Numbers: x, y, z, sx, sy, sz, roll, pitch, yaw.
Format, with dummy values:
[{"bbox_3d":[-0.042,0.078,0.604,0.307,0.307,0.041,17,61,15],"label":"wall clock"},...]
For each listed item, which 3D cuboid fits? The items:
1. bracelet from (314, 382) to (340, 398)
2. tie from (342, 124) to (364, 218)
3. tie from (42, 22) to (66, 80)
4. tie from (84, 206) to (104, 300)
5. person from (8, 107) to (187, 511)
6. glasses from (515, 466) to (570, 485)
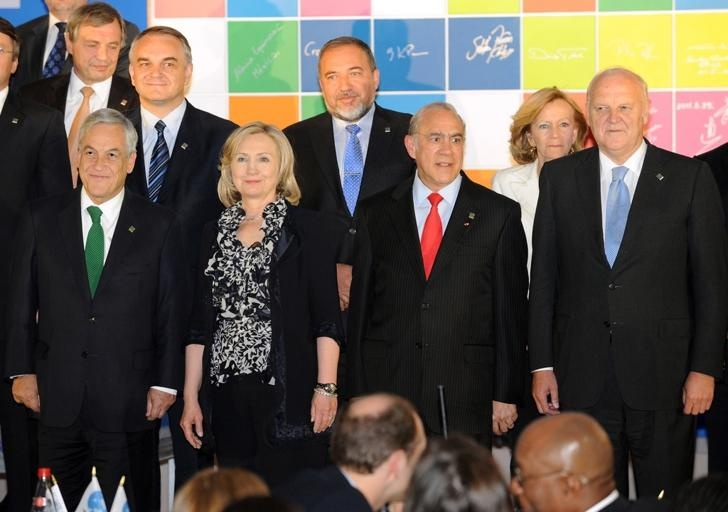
[{"bbox_3d":[-0.181,0.688,3.556,0.087,0.048,0.072,-3,-11,45],"label":"bracelet"},{"bbox_3d":[-0.072,-0.531,4.318,0.101,0.608,0.079,0,-23,3],"label":"tie"},{"bbox_3d":[-2.249,-1.467,5.093,0.270,0.370,0.100,-1,-6,24],"label":"tie"},{"bbox_3d":[-1.419,-0.014,3.712,0.082,0.499,0.058,2,-13,-4],"label":"tie"},{"bbox_3d":[-1.417,0.276,3.699,0.876,2.156,0.294,2,-2,-16],"label":"person"},{"bbox_3d":[0.604,0.753,2.386,0.109,0.026,0.079,-6,-5,9],"label":"glasses"}]
